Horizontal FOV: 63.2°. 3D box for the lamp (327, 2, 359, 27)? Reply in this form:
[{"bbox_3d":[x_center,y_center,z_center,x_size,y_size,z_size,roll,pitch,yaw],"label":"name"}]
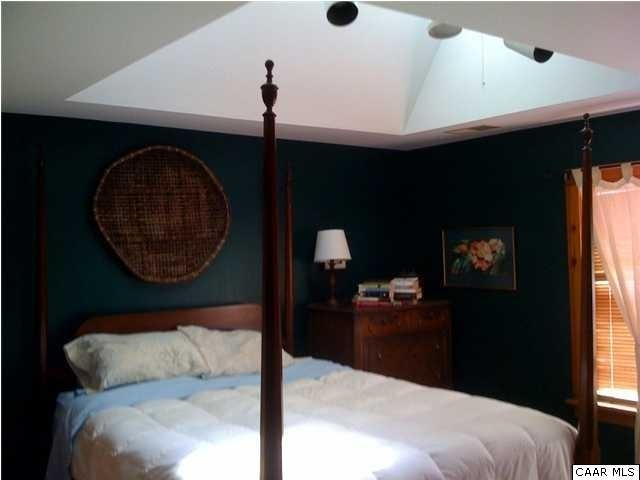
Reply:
[{"bbox_3d":[0.156,-1.560,3.553,0.178,0.151,0.188,2,4,27],"label":"lamp"}]

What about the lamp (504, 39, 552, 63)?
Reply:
[{"bbox_3d":[1.521,-1.405,3.847,0.318,0.185,0.157,2,4,34],"label":"lamp"}]

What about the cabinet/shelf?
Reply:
[{"bbox_3d":[0.597,0.857,5.127,1.276,1.300,0.786,2,-4,-45],"label":"cabinet/shelf"}]

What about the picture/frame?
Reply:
[{"bbox_3d":[1.601,0.184,5.155,0.026,0.536,0.597,0,0,-42],"label":"picture/frame"}]

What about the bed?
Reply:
[{"bbox_3d":[-0.065,0.182,4.089,2.822,2.793,2.984,1,-5,-41],"label":"bed"}]

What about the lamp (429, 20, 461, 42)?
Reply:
[{"bbox_3d":[0.905,-1.545,3.824,0.202,0.086,0.192,-1,3,-18],"label":"lamp"}]

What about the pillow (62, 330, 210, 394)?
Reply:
[{"bbox_3d":[-1.360,0.873,3.879,0.990,0.330,0.369,-2,4,-23],"label":"pillow"}]
